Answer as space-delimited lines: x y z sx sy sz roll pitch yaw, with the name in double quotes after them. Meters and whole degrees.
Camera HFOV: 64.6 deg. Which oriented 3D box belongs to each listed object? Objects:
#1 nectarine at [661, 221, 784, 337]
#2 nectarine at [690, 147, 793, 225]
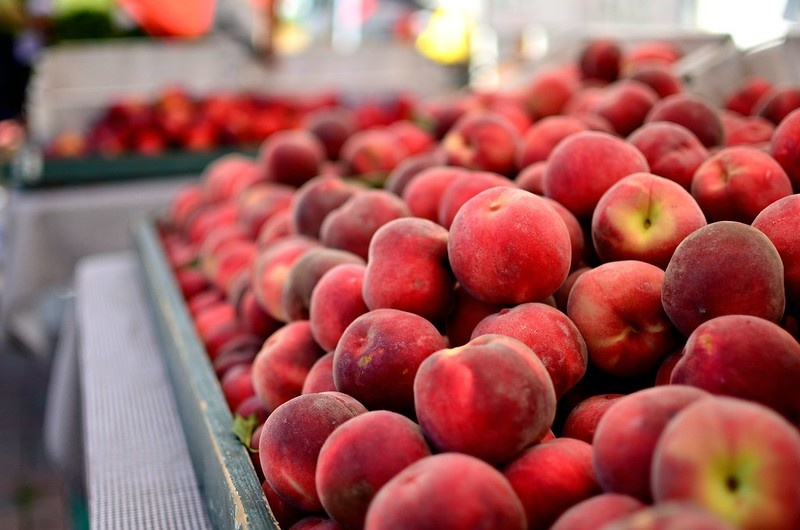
0.599 0.055 1.235 0.199 0.227 0.201 -13 -16 38 "nectarine"
0.739 -0.177 1.394 0.172 0.196 0.191 13 54 33 "nectarine"
